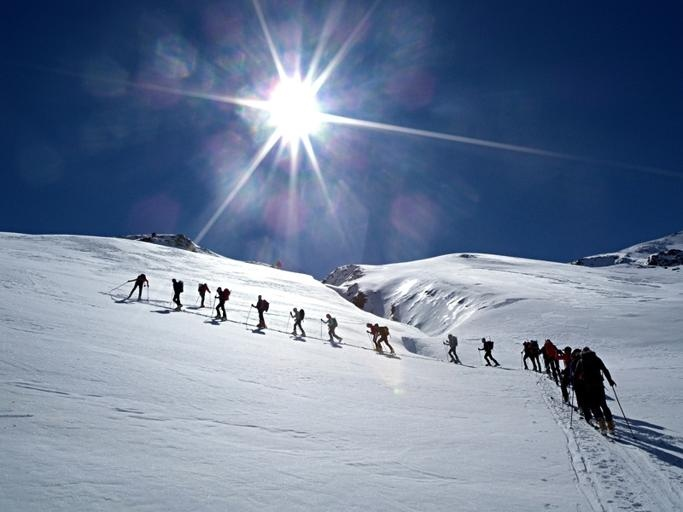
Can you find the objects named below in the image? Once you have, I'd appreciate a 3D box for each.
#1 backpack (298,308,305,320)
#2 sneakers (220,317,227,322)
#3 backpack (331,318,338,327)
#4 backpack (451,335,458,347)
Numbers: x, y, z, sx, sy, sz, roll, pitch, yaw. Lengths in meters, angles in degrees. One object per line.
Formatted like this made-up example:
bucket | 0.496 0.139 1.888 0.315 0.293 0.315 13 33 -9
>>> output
backpack | -2.236 3.224 36.579 0.124 0.478 0.457 11 3 1
sneakers | -6.230 3.275 34.901 0.275 0.184 0.183 1 -3 18
backpack | -0.328 3.697 36.625 0.462 0.571 0.166 1 0 42
backpack | 6.492 4.860 38.333 0.221 0.595 0.286 -25 -41 36
